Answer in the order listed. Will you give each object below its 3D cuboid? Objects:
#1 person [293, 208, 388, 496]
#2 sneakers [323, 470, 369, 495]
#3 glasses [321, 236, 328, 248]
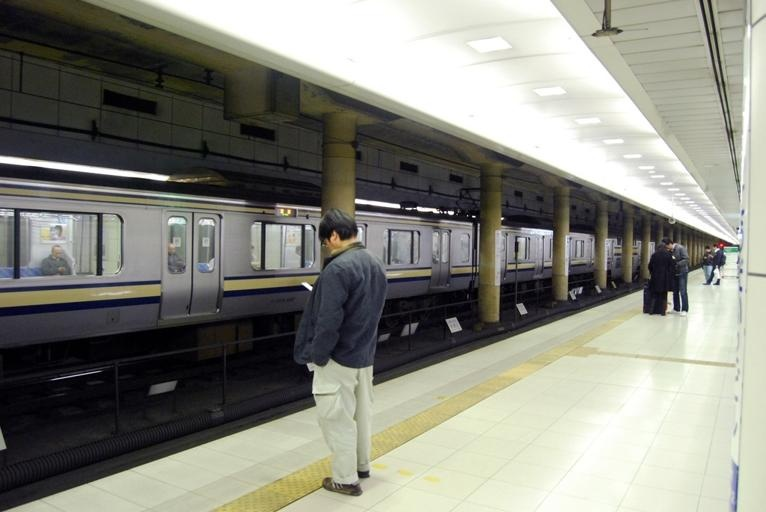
[{"bbox_3d":[-0.419,0.968,4.951,0.936,2.907,0.492,-3,2,-11],"label":"person"},{"bbox_3d":[-0.396,2.353,5.022,0.427,0.174,0.180,9,6,22],"label":"sneakers"},{"bbox_3d":[-0.640,-0.161,5.224,0.087,0.102,0.110,6,13,21],"label":"glasses"}]
